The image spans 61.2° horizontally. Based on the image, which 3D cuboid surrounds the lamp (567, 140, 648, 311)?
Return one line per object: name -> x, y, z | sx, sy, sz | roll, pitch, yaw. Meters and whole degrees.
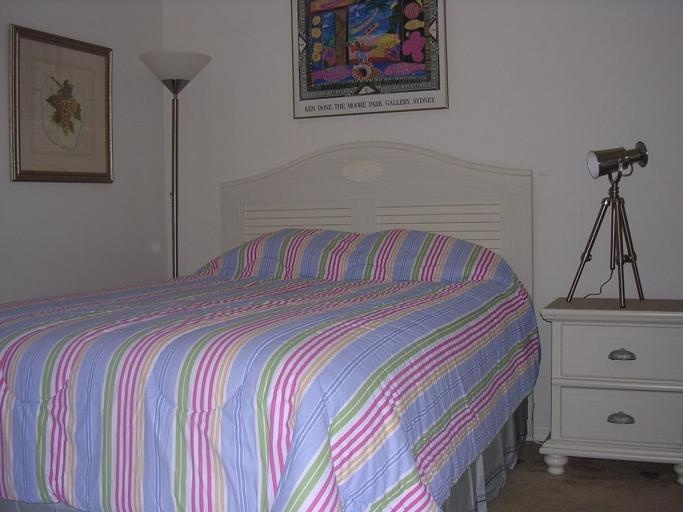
lamp -> 1.376, -0.173, 2.969 | 0.356, 0.838, 0.585 | 4, 8, 29
